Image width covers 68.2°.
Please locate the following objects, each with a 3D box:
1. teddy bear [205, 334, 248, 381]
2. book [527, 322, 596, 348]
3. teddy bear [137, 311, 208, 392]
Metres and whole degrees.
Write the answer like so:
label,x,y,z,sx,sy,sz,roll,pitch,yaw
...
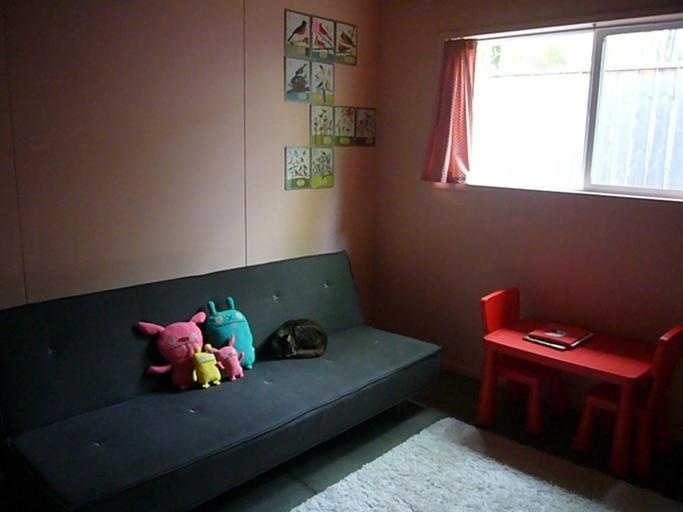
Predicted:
label,x,y,z,sx,sy,sz,roll,pitch,yaw
teddy bear,-0.710,0.622,3.076,0.108,0.248,0.197,-39,-17,34
book,1.475,0.536,3.374,0.216,0.058,0.209,-12,19,-34
teddy bear,-1.003,0.576,2.963,0.159,0.408,0.374,-27,-17,39
